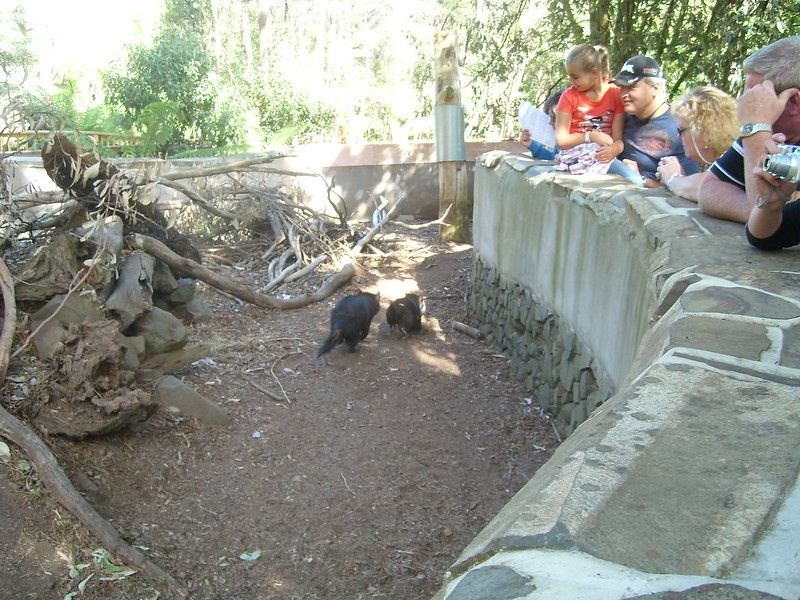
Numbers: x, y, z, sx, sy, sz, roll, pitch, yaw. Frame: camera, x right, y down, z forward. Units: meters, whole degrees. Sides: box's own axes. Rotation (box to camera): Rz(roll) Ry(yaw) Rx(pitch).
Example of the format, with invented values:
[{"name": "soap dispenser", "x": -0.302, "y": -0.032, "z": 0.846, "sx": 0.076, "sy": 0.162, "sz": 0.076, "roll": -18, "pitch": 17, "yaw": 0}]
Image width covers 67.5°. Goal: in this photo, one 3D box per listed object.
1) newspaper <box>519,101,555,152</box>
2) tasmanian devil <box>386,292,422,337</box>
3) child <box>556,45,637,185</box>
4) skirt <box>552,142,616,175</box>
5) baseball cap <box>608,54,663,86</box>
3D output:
[{"name": "newspaper", "x": 1.445, "y": -1.822, "z": 6.339, "sx": 0.177, "sy": 0.500, "sz": 0.328, "roll": -24, "pitch": 34, "yaw": 58}, {"name": "tasmanian devil", "x": 0.103, "y": 0.161, "z": 7.110, "sx": 0.237, "sy": 0.367, "sz": 0.711, "roll": 6, "pitch": 18, "yaw": 17}, {"name": "child", "x": 1.807, "y": -1.677, "z": 5.297, "sx": 0.591, "sy": 1.136, "sz": 1.105, "roll": -5, "pitch": 24, "yaw": -6}, {"name": "skirt", "x": 1.623, "y": -1.243, "z": 5.337, "sx": 0.397, "sy": 0.151, "sz": 0.314, "roll": 0, "pitch": 23, "yaw": 1}, {"name": "baseball cap", "x": 2.004, "y": -1.941, "z": 5.105, "sx": 0.356, "sy": 0.197, "sz": 0.246, "roll": 5, "pitch": 27, "yaw": 0}]
